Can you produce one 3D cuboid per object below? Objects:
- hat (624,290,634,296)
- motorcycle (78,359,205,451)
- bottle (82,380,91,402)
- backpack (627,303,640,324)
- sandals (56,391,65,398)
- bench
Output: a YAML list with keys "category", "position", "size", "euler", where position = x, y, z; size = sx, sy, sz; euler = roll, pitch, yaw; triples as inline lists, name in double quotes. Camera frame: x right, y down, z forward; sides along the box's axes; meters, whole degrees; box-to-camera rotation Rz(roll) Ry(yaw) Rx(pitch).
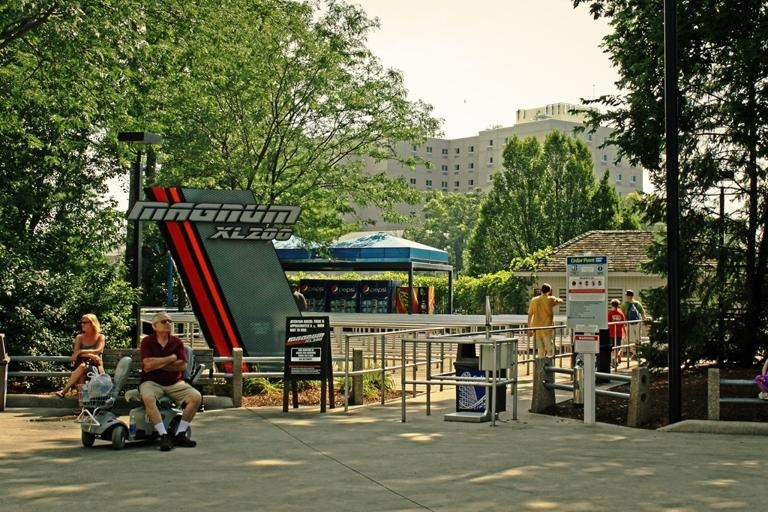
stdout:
- category: "hat"
  position: [8.452, 1.318, 36.664]
  size: [0.394, 0.197, 0.565]
  euler: [1, 2, 18]
- category: "motorcycle"
  position: [-5.038, 3.006, 21.444]
  size: [2.079, 1.858, 1.700]
  euler: [2, -9, -15]
- category: "bottle"
  position: [-5.907, 2.734, 21.015]
  size: [0.129, 0.419, 0.440]
  euler: [3, -9, -24]
- category: "backpack"
  position: [7.557, 1.722, 32.187]
  size: [0.461, 0.486, 0.370]
  euler: [-1, -8, 2]
- category: "sandals"
  position: [-7.199, 3.144, 23.545]
  size: [0.128, 0.182, 0.467]
  euler: [-23, 6, -21]
- category: "bench"
  position: [-4.736, 2.588, 21.768]
  size: [1.716, 0.913, 0.639]
  euler: [0, -8, -2]
